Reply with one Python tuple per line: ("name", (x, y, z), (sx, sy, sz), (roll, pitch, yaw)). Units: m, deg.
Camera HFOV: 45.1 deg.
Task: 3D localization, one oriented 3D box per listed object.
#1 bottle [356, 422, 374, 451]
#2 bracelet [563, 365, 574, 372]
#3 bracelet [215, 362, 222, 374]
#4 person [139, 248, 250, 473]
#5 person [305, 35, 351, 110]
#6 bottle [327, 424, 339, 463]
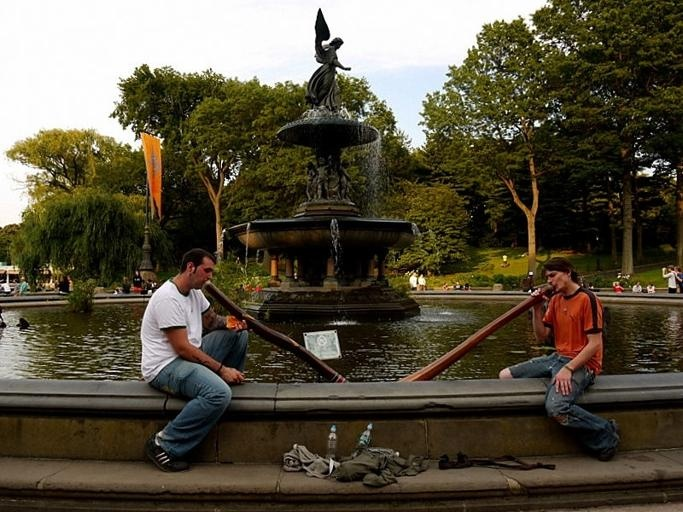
("bottle", (0.287, 2.005, 9.294), (0.184, 0.268, 0.159), (-1, 2, 1))
("bracelet", (2.582, 1.262, 9.382), (0.080, 0.050, 0.095), (34, -14, -21))
("bracelet", (-1.367, 1.268, 9.392), (0.024, 0.092, 0.099), (7, 0, 31))
("person", (-1.686, 1.130, 9.491), (1.140, 2.434, 0.840), (-1, 2, -14))
("person", (-0.375, -4.724, 21.675), (1.025, 1.757, 1.224), (-1, 2, -4))
("bottle", (-0.102, 2.078, 9.252), (0.114, 0.374, 0.240), (-1, 2, 9))
